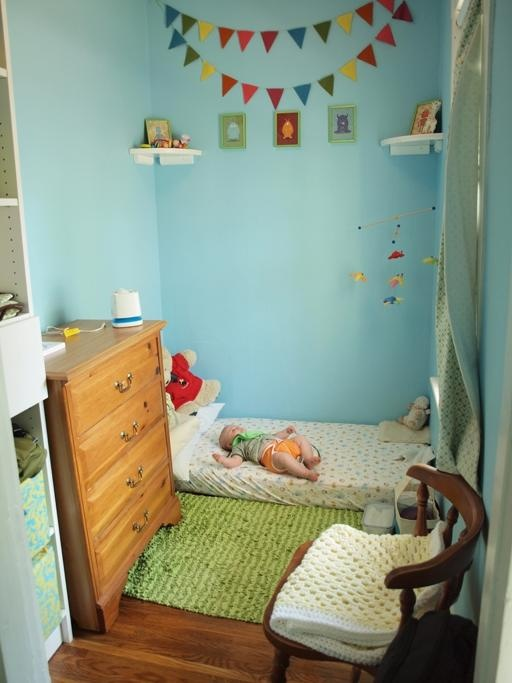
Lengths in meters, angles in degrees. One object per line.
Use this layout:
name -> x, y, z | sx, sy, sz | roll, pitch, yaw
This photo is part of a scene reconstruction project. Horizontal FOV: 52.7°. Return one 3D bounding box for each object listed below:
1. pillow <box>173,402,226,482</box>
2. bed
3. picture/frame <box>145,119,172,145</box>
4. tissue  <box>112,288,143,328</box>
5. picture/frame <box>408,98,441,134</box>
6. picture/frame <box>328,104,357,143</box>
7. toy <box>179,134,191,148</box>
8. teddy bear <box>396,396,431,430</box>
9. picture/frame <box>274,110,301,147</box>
pillow -> -0.317, 0.458, 2.779 | 0.227, 0.087, 0.646 | 17, 27, 3
bed -> 0.222, 0.664, 2.715 | 0.927, 0.118, 0.547 | 2, 14, 16
picture/frame -> -0.581, -1.229, 3.035 | 0.187, 0.201, 0.020 | -10, 6, -39
tissue  -> -0.505, -0.144, 2.142 | 0.126, 0.184, 0.139 | 3, 17, 7
picture/frame -> 0.874, -1.177, 2.725 | 0.155, 0.207, 0.213 | 5, 12, 29
picture/frame -> 0.497, -1.257, 2.957 | 0.199, 0.247, 0.017 | 1, 14, 12
toy -> -0.426, -1.200, 3.098 | 0.063, 0.089, 0.121 | -2, 11, -3
teddy bear -> 0.926, 0.399, 3.092 | 0.163, 0.241, 0.170 | 14, 23, 25
picture/frame -> 0.186, -1.259, 3.029 | 0.187, 0.265, 0.042 | 1, 11, 7
